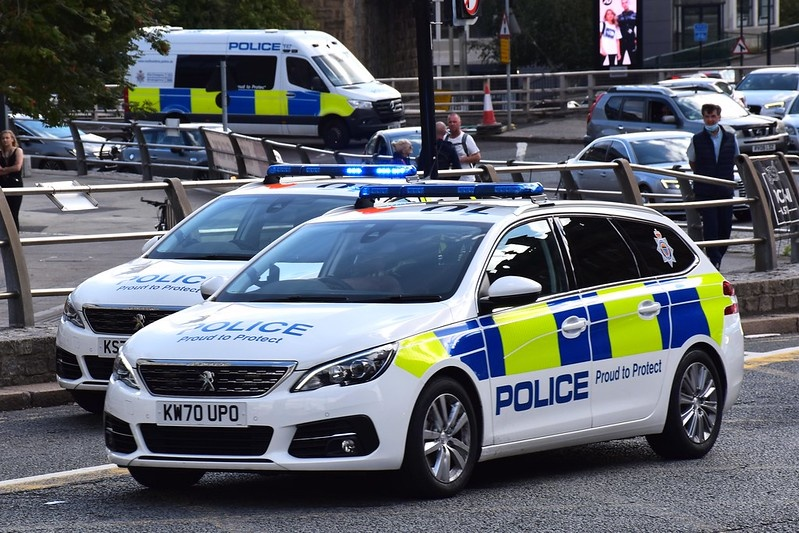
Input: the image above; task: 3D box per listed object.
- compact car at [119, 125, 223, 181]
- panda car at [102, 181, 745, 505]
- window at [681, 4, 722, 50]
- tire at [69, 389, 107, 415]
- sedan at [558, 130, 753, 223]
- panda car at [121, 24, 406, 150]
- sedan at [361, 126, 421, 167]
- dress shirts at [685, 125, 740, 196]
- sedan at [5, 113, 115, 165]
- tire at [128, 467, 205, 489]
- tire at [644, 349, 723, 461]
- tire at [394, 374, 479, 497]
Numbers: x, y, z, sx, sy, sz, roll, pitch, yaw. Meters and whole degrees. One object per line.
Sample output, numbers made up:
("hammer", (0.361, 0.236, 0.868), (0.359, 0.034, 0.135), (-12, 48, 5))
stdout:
("compact car", (-5.489, -2.827, 28.782), (2.578, 1.101, 1.555), (-1, 4, 19))
("panda car", (0.421, 0.431, 8.875), (2.283, 1.493, 4.026), (0, -1, 44))
("window", (19.955, -16.226, 80.655), (2.137, 3.104, 5.507), (3, 6, 30))
("tire", (-2.780, 1.230, 10.934), (0.339, 0.184, 0.306), (0, -1, 43))
("sedan", (4.217, -1.649, 21.298), (1.866, 1.307, 4.230), (-3, 5, -39))
("panda car", (-5.225, -5.354, 35.503), (8.452, 3.061, 2.998), (-6, 14, -39))
("sedan", (-0.160, -2.470, 24.320), (0.805, 0.637, 1.624), (-1, 1, -24))
("dress shirts", (4.345, -1.505, 16.873), (0.783, 0.905, 0.486), (-1, -4, 7))
("sedan", (-8.847, -3.434, 32.397), (3.387, 1.050, 1.567), (2, 7, 26))
("tire", (-1.595, 1.470, 8.356), (0.331, 0.093, 0.320), (1, -1, -41))
("tire", (2.176, 1.084, 9.428), (0.984, 0.863, 0.369), (-3, -3, -41))
("tire", (0.260, 1.153, 8.073), (0.616, 0.826, 0.117), (-5, 8, -41))
